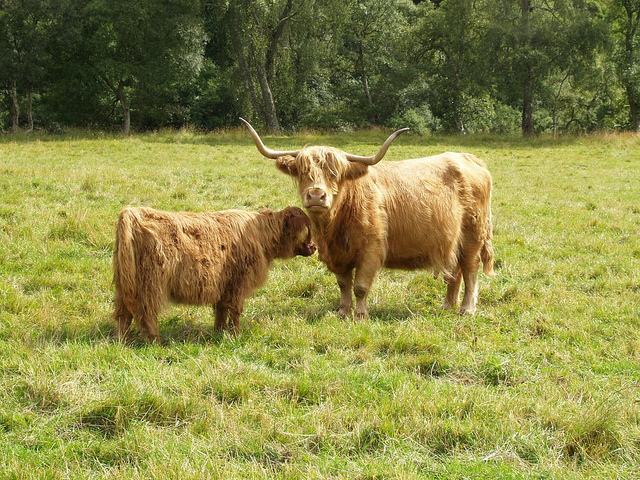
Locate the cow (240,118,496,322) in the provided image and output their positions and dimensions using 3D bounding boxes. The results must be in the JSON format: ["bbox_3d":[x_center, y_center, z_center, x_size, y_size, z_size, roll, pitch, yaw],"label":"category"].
[{"bbox_3d":[1.359,-0.248,13.524,4.079,3.305,2.808,2,7,-21],"label":"cow"}]

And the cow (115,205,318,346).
[{"bbox_3d":[-1.490,0.522,12.240,3.254,2.242,1.146,-2,10,-24],"label":"cow"}]
